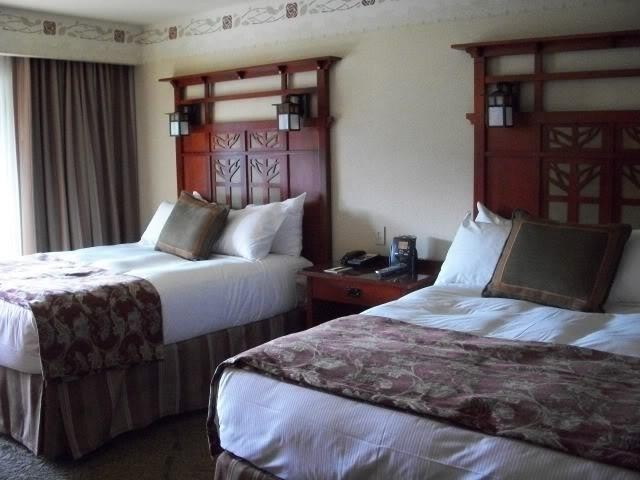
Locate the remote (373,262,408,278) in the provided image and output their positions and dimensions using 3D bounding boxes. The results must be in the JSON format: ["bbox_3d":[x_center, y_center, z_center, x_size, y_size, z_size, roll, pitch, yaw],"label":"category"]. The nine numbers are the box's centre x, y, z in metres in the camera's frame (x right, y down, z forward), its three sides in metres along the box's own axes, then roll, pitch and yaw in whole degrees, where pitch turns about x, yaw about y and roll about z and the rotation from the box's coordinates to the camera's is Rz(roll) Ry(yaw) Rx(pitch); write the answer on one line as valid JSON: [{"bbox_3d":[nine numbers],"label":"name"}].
[{"bbox_3d":[0.500,0.217,3.452,0.150,0.034,0.109,-9,13,-37],"label":"remote"}]

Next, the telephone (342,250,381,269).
[{"bbox_3d":[0.307,0.147,3.742,0.150,0.073,0.206,3,7,39],"label":"telephone"}]
